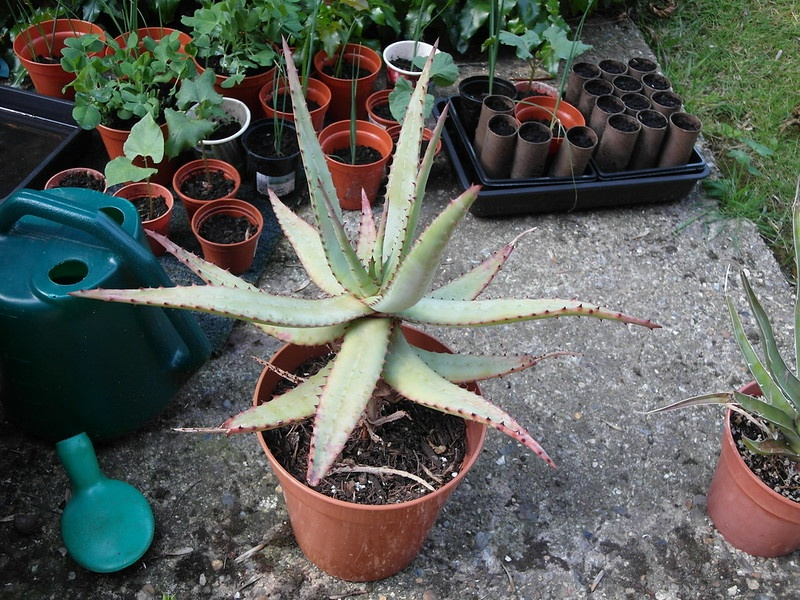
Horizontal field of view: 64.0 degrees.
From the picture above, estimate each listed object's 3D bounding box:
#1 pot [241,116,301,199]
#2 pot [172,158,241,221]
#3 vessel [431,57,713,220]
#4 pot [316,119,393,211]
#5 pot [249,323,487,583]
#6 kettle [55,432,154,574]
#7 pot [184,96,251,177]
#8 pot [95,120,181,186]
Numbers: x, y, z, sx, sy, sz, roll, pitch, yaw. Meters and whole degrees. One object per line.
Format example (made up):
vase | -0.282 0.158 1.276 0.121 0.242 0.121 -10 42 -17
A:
pot | -0.539 -0.588 2.734 0.266 0.239 0.279 6 46 -7
pot | -0.764 -0.393 2.621 0.252 0.160 0.261 3 48 -4
vessel | 0.757 -0.754 2.824 1.104 0.524 0.649 -8 47 -12
pot | -0.189 -0.530 2.718 0.327 0.303 0.351 2 36 -1
pot | -0.094 0.365 1.975 0.636 0.544 0.718 7 38 0
kettle | -0.899 0.618 1.922 0.248 0.125 0.413 -25 69 -19
pot | -0.716 -0.673 2.782 0.276 0.218 0.285 0 61 0
pot | -1.082 -0.593 2.684 0.270 0.206 0.279 5 49 -6
